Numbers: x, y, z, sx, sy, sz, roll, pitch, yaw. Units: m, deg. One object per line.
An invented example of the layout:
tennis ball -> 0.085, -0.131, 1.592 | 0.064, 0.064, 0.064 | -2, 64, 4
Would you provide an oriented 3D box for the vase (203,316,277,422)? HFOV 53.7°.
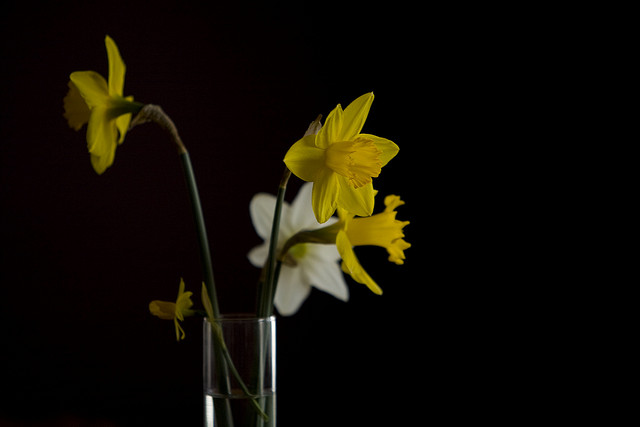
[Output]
vase -> -0.224, 0.438, 1.850 | 0.243, 0.429, 0.247 | 0, -4, -3
